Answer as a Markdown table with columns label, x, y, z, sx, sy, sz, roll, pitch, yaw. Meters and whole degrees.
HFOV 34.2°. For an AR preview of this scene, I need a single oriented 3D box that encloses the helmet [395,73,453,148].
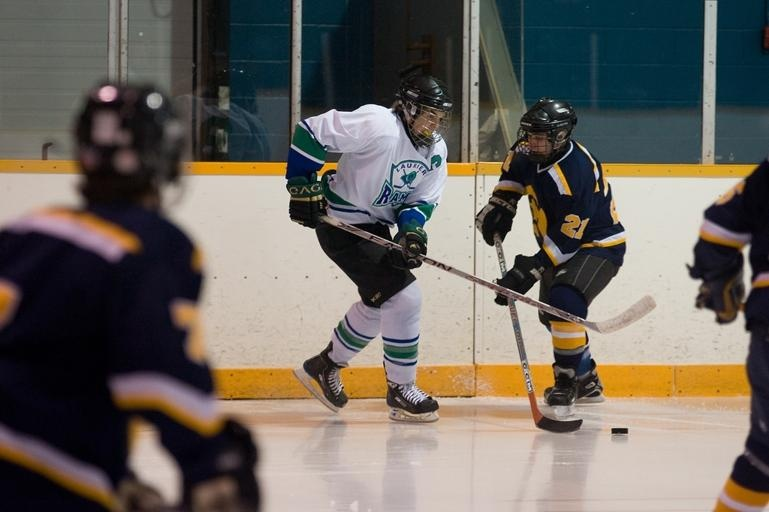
| label | x | y | z | sx | sy | sz | roll | pitch | yaw |
| --- | --- | --- | --- | --- | --- | --- | --- | --- | --- |
| helmet | 0.194 | -0.721 | 6.214 | 0.271 | 0.353 | 0.112 | 1 | 12 | 2 |

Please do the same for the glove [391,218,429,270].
| label | x | y | z | sx | sy | sz | roll | pitch | yaw |
| --- | --- | --- | --- | --- | --- | --- | --- | --- | --- |
| glove | 0.120 | -0.058 | 6.254 | 0.089 | 0.164 | 0.224 | 16 | 38 | -27 |

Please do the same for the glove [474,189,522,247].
| label | x | y | z | sx | sy | sz | roll | pitch | yaw |
| --- | --- | --- | --- | --- | --- | --- | --- | --- | --- |
| glove | 0.593 | -0.206 | 6.631 | 0.218 | 0.281 | 0.142 | 41 | 14 | 11 |

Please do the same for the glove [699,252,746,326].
| label | x | y | z | sx | sy | sz | roll | pitch | yaw |
| --- | --- | --- | --- | --- | --- | --- | --- | --- | --- |
| glove | 1.394 | 0.138 | 5.137 | 0.154 | 0.265 | 0.107 | -1 | 11 | -9 |

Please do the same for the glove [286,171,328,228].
| label | x | y | z | sx | sy | sz | roll | pitch | yaw |
| --- | --- | --- | --- | --- | --- | --- | --- | --- | --- |
| glove | -0.385 | -0.276 | 6.233 | 0.190 | 0.259 | 0.108 | -1 | 12 | -4 |

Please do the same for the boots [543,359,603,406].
| label | x | y | z | sx | sy | sz | roll | pitch | yaw |
| --- | --- | --- | --- | --- | --- | --- | --- | --- | --- |
| boots | 1.029 | 0.691 | 6.612 | 0.152 | 0.231 | 0.440 | -4 | -3 | 38 |

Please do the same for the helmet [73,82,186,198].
| label | x | y | z | sx | sy | sz | roll | pitch | yaw |
| --- | --- | --- | --- | --- | --- | --- | --- | --- | --- |
| helmet | -0.893 | -0.393 | 4.377 | 0.330 | 0.415 | 0.196 | 8 | -6 | 1 |

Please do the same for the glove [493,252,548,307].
| label | x | y | z | sx | sy | sz | roll | pitch | yaw |
| --- | --- | --- | --- | --- | --- | --- | --- | --- | --- |
| glove | 0.709 | 0.119 | 6.473 | 0.185 | 0.327 | 0.133 | 58 | 5 | 36 |

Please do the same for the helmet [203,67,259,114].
| label | x | y | z | sx | sy | sz | roll | pitch | yaw |
| --- | --- | --- | --- | --- | --- | --- | --- | --- | --- |
| helmet | -0.841 | -0.914 | 6.848 | 0.464 | 0.250 | 0.252 | -1 | 4 | -4 |
